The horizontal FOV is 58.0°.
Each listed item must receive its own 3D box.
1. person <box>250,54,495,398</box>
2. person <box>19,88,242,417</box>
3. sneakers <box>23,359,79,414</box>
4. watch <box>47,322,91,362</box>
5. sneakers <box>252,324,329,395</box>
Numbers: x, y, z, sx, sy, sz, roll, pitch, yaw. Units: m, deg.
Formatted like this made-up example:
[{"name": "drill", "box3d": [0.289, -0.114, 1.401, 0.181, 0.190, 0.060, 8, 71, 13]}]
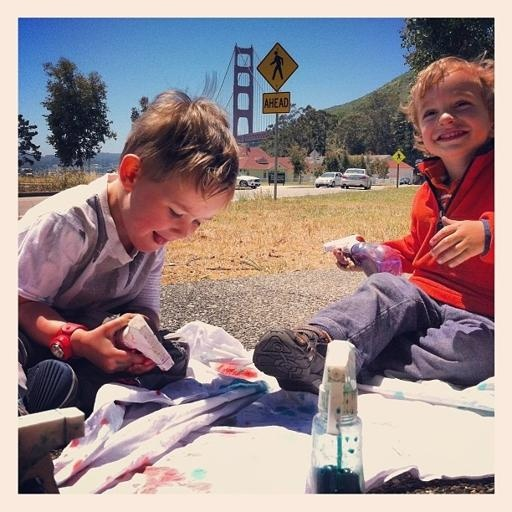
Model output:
[{"name": "person", "box3d": [0.502, -0.131, 1.472, 0.485, 1.076, 0.930, 6, 10, 44]}, {"name": "person", "box3d": [-0.391, -0.041, 1.407, 0.670, 0.917, 0.466, -6, 9, -31]}, {"name": "sneakers", "box3d": [-0.505, 0.347, 1.168, 0.099, 0.147, 0.079, 2, -27, 25]}, {"name": "watch", "box3d": [-0.516, 0.254, 1.302, 0.057, 0.116, 0.103, 4, 5, 28]}, {"name": "sneakers", "box3d": [0.104, 0.309, 1.310, 0.165, 0.242, 0.202, 3, 9, 32]}]
